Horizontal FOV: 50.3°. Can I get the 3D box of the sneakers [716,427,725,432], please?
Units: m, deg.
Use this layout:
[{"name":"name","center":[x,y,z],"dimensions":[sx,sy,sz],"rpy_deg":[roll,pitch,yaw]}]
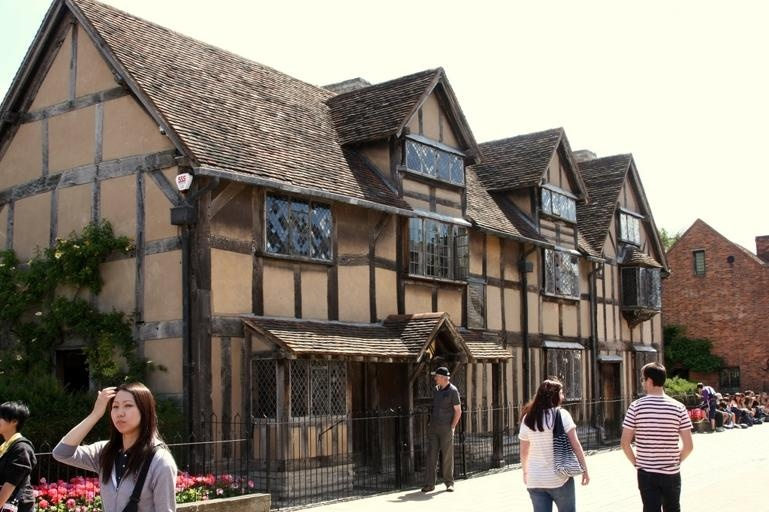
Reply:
[{"name":"sneakers","center":[13.420,6.938,32.612],"dimensions":[0.441,0.183,0.145],"rpy_deg":[4,-5,-42]}]
